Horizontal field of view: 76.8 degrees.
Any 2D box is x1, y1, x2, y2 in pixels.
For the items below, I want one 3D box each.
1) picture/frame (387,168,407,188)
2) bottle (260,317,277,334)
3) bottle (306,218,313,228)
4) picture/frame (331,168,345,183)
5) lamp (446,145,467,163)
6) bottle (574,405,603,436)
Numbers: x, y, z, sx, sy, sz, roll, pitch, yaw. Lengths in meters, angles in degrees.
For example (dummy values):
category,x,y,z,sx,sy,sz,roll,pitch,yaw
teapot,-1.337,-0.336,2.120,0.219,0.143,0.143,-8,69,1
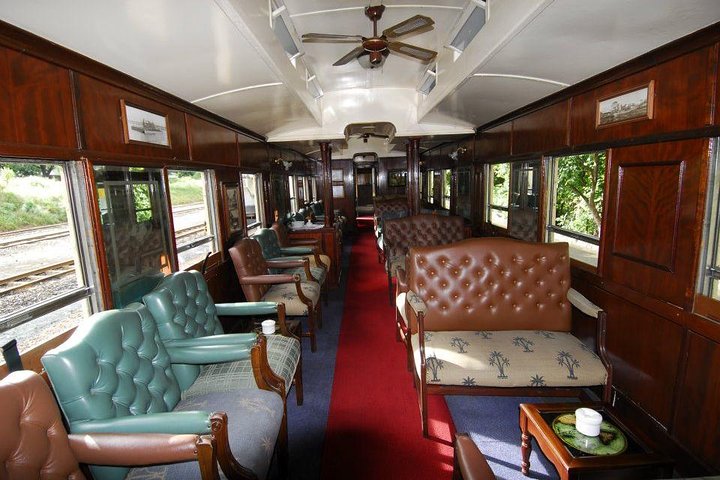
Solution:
category,x,y,z,sx,sy,sz,roll,pitch,yaw
picture/frame,1.174,-1.967,14.436,0.509,0.599,0.539,1,10,16
bottle,-0.896,0.845,4.428,0.160,0.116,0.130,-2,7,2
bottle,-0.900,-0.278,8.005,0.177,0.171,0.180,0,-6,8
picture/frame,-0.600,-1.793,12.543,0.316,0.353,0.101,-1,10,4
lamp,1.822,-1.575,8.310,0.244,0.273,0.207,18,1,-36
bottle,1.682,1.312,3.323,0.177,0.150,0.177,-4,4,-9
